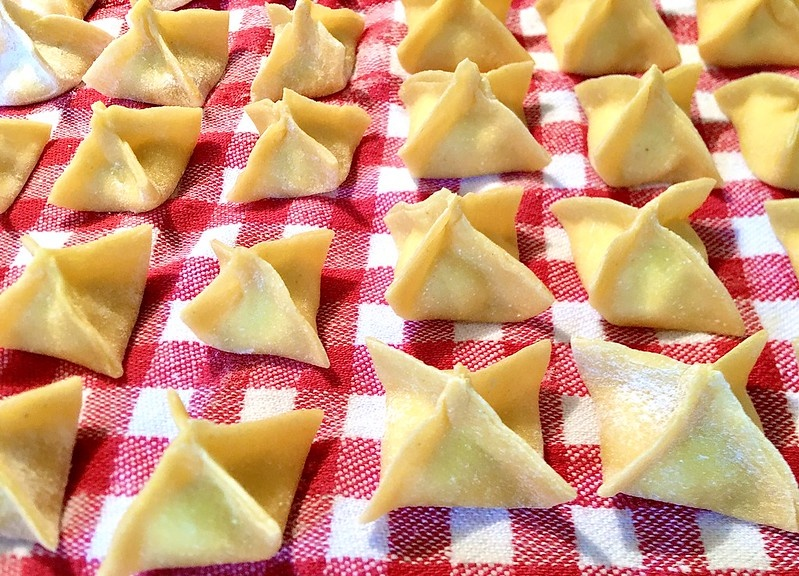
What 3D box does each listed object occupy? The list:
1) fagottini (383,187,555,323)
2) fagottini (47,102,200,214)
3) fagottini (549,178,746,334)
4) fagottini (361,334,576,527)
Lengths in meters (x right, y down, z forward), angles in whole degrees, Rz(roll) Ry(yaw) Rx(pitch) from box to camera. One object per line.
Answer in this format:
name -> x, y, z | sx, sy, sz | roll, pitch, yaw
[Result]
fagottini -> 0.087, -0.049, 1.161 | 0.215, 0.105, 0.156 | 1, 66, 3
fagottini -> -0.396, -0.229, 1.311 | 0.167, 0.173, 0.115 | -10, 24, -17
fagottini -> 0.313, -0.036, 1.145 | 0.224, 0.101, 0.191 | -2, 67, 1
fagottini -> 0.070, 0.147, 1.047 | 0.237, 0.102, 0.211 | -4, 67, 0
